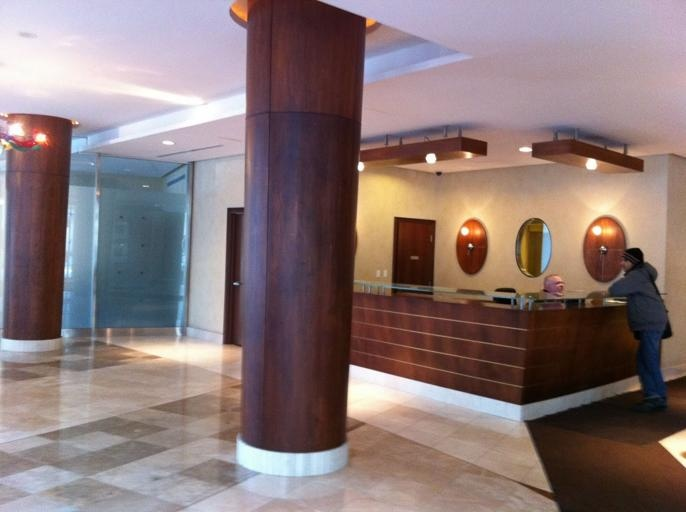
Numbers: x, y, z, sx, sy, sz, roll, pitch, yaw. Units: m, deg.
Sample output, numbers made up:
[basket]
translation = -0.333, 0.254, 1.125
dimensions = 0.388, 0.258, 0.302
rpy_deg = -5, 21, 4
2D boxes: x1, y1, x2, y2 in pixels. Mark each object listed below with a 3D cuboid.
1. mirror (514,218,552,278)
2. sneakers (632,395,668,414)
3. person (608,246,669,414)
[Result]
[mirror]
translation = 3.515, -0.159, 9.741
dimensions = 0.093, 1.278, 1.040
rpy_deg = 0, 5, -36
[sneakers]
translation = 4.004, 1.917, 6.918
dimensions = 0.556, 0.227, 0.184
rpy_deg = 3, -4, -9
[person]
translation = 3.992, 0.932, 7.097
dimensions = 0.674, 2.042, 0.531
rpy_deg = 4, 4, 31
